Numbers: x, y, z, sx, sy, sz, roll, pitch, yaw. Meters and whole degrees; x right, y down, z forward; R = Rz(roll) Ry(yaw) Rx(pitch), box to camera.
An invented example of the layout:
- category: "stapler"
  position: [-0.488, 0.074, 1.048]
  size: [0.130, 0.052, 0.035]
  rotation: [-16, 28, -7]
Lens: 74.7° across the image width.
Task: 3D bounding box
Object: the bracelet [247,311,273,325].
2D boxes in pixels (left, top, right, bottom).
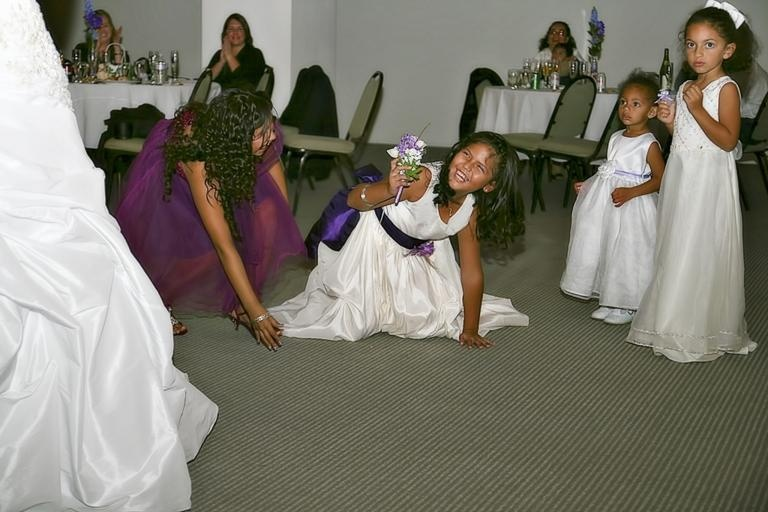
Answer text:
- category: "bracelet"
  position: [-0.580, 0.291, 2.345]
  size: [0.060, 0.028, 0.049]
  rotation: [-33, 2, 12]

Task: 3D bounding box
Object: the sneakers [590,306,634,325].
- category: "sneakers"
  position: [1.353, 0.329, 2.950]
  size: [0.145, 0.066, 0.116]
  rotation: [1, 9, -25]

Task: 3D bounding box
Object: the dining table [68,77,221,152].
- category: "dining table"
  position: [-2.245, -1.411, 4.755]
  size: [1.243, 0.378, 1.045]
  rotation: [-6, 24, -17]

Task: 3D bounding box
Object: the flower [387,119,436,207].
- category: "flower"
  position: [0.102, -0.445, 2.434]
  size: [0.180, 0.465, 0.166]
  rotation: [11, 3, -26]

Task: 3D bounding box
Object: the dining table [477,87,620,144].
- category: "dining table"
  position: [1.635, -1.571, 5.468]
  size: [0.827, 0.405, 0.914]
  rotation: [11, 16, 13]

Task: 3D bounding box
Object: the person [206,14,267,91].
- category: "person"
  position: [-1.646, -2.195, 5.612]
  size: [0.526, 0.886, 0.460]
  rotation: [14, 13, 24]

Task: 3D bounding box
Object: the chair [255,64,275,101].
- category: "chair"
  position: [-1.247, -1.802, 5.155]
  size: [0.106, 0.112, 0.337]
  rotation: [5, -25, -23]

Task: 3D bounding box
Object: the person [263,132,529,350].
- category: "person"
  position: [0.102, -0.133, 2.837]
  size: [1.212, 1.232, 1.146]
  rotation: [10, 10, 20]

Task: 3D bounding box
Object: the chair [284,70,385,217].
- category: "chair"
  position: [-0.530, -1.133, 4.871]
  size: [0.763, 1.437, 0.709]
  rotation: [2, 23, -17]

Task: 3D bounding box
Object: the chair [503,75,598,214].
- category: "chair"
  position: [1.694, -1.208, 5.288]
  size: [0.719, 1.383, 0.882]
  rotation: [-3, 21, -15]
